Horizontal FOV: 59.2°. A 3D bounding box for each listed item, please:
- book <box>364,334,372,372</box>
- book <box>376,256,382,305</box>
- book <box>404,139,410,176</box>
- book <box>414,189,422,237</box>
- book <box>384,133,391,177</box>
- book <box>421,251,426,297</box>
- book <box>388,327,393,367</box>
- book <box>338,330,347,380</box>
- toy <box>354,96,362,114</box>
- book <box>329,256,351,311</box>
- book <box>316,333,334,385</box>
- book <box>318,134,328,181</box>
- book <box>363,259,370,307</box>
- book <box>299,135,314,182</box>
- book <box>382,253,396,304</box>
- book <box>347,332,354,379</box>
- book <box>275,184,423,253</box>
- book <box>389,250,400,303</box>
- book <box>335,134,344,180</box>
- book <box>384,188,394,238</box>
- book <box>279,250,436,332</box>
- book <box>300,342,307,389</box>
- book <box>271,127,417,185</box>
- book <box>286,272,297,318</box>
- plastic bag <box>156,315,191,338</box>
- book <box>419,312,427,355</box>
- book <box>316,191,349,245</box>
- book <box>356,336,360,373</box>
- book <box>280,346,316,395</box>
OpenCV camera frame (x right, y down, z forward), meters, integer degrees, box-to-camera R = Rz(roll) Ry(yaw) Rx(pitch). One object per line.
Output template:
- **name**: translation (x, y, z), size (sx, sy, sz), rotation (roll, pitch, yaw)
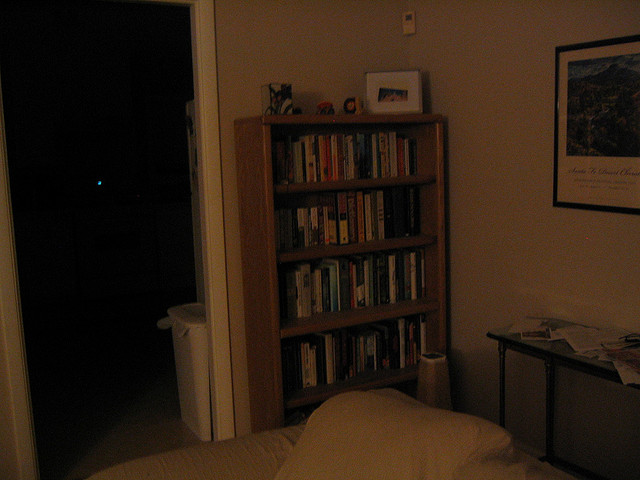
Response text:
- **book**: translation (0.303, 0.708, 3.546), size (0.032, 0.234, 0.049), rotation (1, 9, 23)
- **book**: translation (0.371, 0.252, 3.531), size (0.028, 0.299, 0.014), rotation (-3, 8, 2)
- **book**: translation (0.548, -0.527, 3.555), size (0.030, 0.244, 0.206), rotation (-2, 4, 14)
- **book**: translation (0.635, -0.184, 3.625), size (0.029, 0.294, 0.071), rotation (2, 10, 32)
- **book**: translation (0.417, -0.539, 3.491), size (0.032, 0.316, 0.229), rotation (-3, 7, 10)
- **book**: translation (0.672, 0.223, 3.643), size (0.028, 0.292, 0.015), rotation (-9, 10, -35)
- **book**: translation (0.449, 0.676, 3.566), size (0.027, 0.252, 0.016), rotation (-1, 9, 14)
- **book**: translation (0.143, 0.702, 3.450), size (0.057, 0.307, 0.029), rotation (-5, 9, -12)
- **toy**: translation (0.233, -0.823, 3.441), size (0.044, 0.102, 0.109), rotation (-2, 9, 4)
- **book**: translation (0.118, 0.270, 3.432), size (0.100, 0.286, 0.290), rotation (-3, 7, -9)
- **book**: translation (0.024, 0.715, 3.412), size (0.044, 0.371, 0.269), rotation (-3, 6, -17)
- **book**: translation (0.016, -0.483, 3.303), size (0.032, 0.262, 0.055), rotation (3, 10, 36)
- **book**: translation (0.287, 0.273, 3.495), size (0.047, 0.215, 0.199), rotation (-4, -1, -1)
- **book**: translation (-0.080, -0.474, 3.280), size (0.074, 0.261, 0.030), rotation (-3, 8, 0)
- **book**: translation (0.457, 0.243, 3.565), size (0.049, 0.304, 0.032), rotation (-3, 8, -3)
- **book**: translation (0.187, 0.719, 3.475), size (0.035, 0.256, 0.051), rotation (0, 9, 18)
- **book**: translation (0.181, -0.130, 3.450), size (1.034, 0.401, 0.363), rotation (-8, 5, -23)
- **book**: translation (0.471, 0.233, 3.570), size (0.048, 0.392, 0.288), rotation (-2, 1, 14)
- **book**: translation (0.121, -0.495, 3.337), size (0.054, 0.259, 0.013), rotation (-8, 10, -30)
- **book**: translation (0.433, -0.164, 3.540), size (0.058, 0.240, 0.173), rotation (2, 0, 2)
- **book**: translation (0.210, 0.241, 3.484), size (1.044, 0.403, 0.349), rotation (-7, 9, -20)
- **book**: translation (-0.103, 0.751, 3.375), size (0.027, 0.275, 0.015), rotation (-2, 8, 4)
- **book**: translation (0.165, -0.508, 3.428), size (0.971, 0.271, 0.161), rotation (-8, 10, -28)
- **book**: translation (-0.171, 0.324, 3.328), size (0.065, 0.270, 0.017), rotation (-8, 10, -29)
- **plastic bag**: translation (-1.016, 0.589, 3.874), size (0.226, 0.162, 0.078), rotation (32, 32, 33)
- **book**: translation (0.668, 0.601, 3.652), size (0.055, 0.260, 0.036), rotation (-5, 9, -14)
- **book**: translation (0.038, -0.137, 3.415), size (0.306, 0.315, 0.111), rotation (-3, 8, -30)
- **book**: translation (0.235, 0.717, 3.519), size (0.029, 0.227, 0.010), rotation (-6, 9, -19)
- **book**: translation (-0.137, 0.766, 3.357), size (0.238, 0.254, 0.055), rotation (0, 0, -45)
